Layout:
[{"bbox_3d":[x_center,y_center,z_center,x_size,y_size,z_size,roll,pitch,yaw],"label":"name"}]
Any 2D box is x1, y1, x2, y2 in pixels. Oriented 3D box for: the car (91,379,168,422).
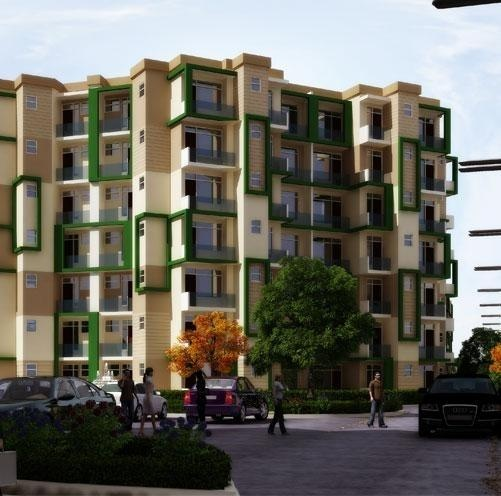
[{"bbox_3d":[-4.214,5.619,38.267,1.650,1.233,3.701,-1,-6,21],"label":"car"}]
